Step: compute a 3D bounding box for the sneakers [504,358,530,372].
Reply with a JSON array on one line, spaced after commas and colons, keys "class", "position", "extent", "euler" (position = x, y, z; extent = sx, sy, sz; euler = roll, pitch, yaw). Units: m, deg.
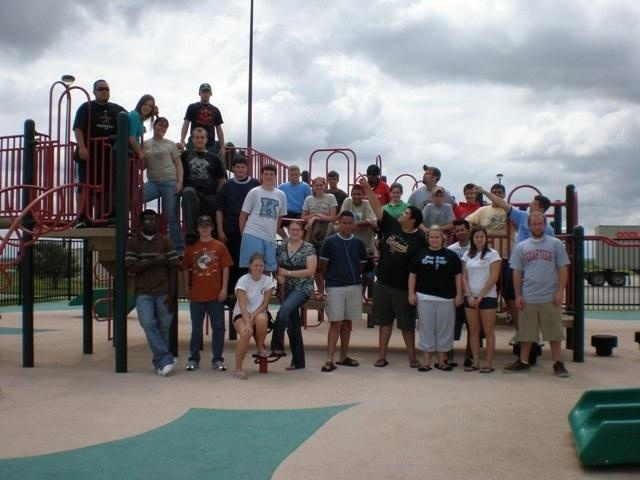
[{"class": "sneakers", "position": [2.930, 1.853, 9.826], "extent": [0.402, 0.202, 0.174], "euler": [0, -5, -5]}]

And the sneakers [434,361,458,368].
[{"class": "sneakers", "position": [1.898, 1.885, 10.075], "extent": [0.235, 0.079, 0.148], "euler": [-5, 1, 17]}]

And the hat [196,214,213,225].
[{"class": "hat", "position": [-1.714, -0.302, 9.842], "extent": [0.158, 0.132, 0.234], "euler": [0, -8, -7]}]

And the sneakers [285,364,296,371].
[{"class": "sneakers", "position": [-0.446, 1.899, 9.899], "extent": [0.140, 0.058, 0.185], "euler": [-1, 2, -3]}]

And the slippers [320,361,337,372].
[{"class": "slippers", "position": [0.118, 1.863, 9.844], "extent": [0.220, 0.124, 0.455], "euler": [0, 2, 10]}]

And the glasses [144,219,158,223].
[{"class": "glasses", "position": [-2.484, -0.274, 9.682], "extent": [0.178, 0.083, 0.087], "euler": [-2, 3, -35]}]

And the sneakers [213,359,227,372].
[{"class": "sneakers", "position": [-1.514, 1.843, 9.805], "extent": [0.234, 0.157, 0.278], "euler": [0, 2, 2]}]

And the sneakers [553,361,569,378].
[{"class": "sneakers", "position": [3.439, 1.826, 9.499], "extent": [0.213, 0.198, 0.387], "euler": [0, 2, 20]}]

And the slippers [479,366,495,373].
[{"class": "slippers", "position": [2.434, 1.891, 9.744], "extent": [0.211, 0.089, 0.342], "euler": [0, 2, 17]}]

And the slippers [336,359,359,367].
[{"class": "slippers", "position": [0.422, 1.885, 10.213], "extent": [0.227, 0.079, 0.132], "euler": [-6, -7, 27]}]

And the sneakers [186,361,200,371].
[{"class": "sneakers", "position": [-1.910, 1.849, 9.878], "extent": [0.188, 0.148, 0.262], "euler": [-1, 2, -13]}]

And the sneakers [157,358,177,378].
[{"class": "sneakers", "position": [-2.218, 1.806, 9.521], "extent": [0.268, 0.232, 0.446], "euler": [-1, 2, -19]}]

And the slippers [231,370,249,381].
[{"class": "slippers", "position": [-1.130, 1.857, 9.239], "extent": [0.213, 0.114, 0.214], "euler": [0, 2, 0]}]

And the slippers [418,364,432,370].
[{"class": "slippers", "position": [1.541, 1.885, 9.859], "extent": [0.214, 0.093, 0.333], "euler": [0, 2, 10]}]

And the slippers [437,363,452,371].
[{"class": "slippers", "position": [1.852, 1.882, 9.973], "extent": [0.243, 0.092, 0.332], "euler": [0, 2, 2]}]

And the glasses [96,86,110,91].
[{"class": "glasses", "position": [-3.342, -2.314, 10.222], "extent": [0.152, 0.062, 0.097], "euler": [-1, 2, -1]}]

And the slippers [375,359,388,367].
[{"class": "slippers", "position": [0.933, 1.880, 10.204], "extent": [0.219, 0.123, 0.382], "euler": [0, 2, 6]}]

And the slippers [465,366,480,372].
[{"class": "slippers", "position": [2.221, 1.901, 9.822], "extent": [0.195, 0.067, 0.080], "euler": [5, -4, -31]}]
